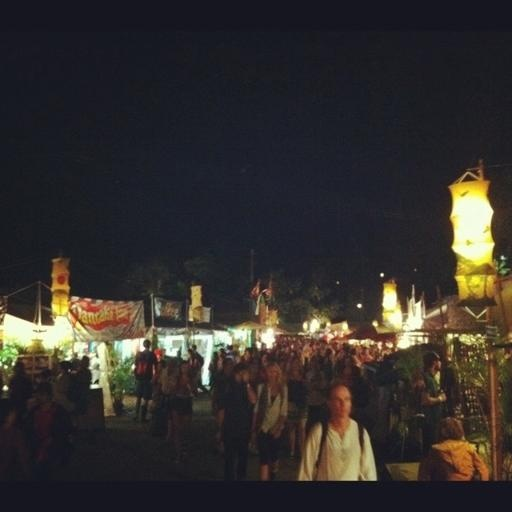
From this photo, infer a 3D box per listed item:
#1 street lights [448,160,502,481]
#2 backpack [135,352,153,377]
[{"bbox_3d":[2.697,0.759,7.618,0.513,4.047,0.977,-3,-4,22],"label":"street lights"},{"bbox_3d":[-2.586,2.544,14.538,0.389,0.564,0.286,3,-23,-6],"label":"backpack"}]
